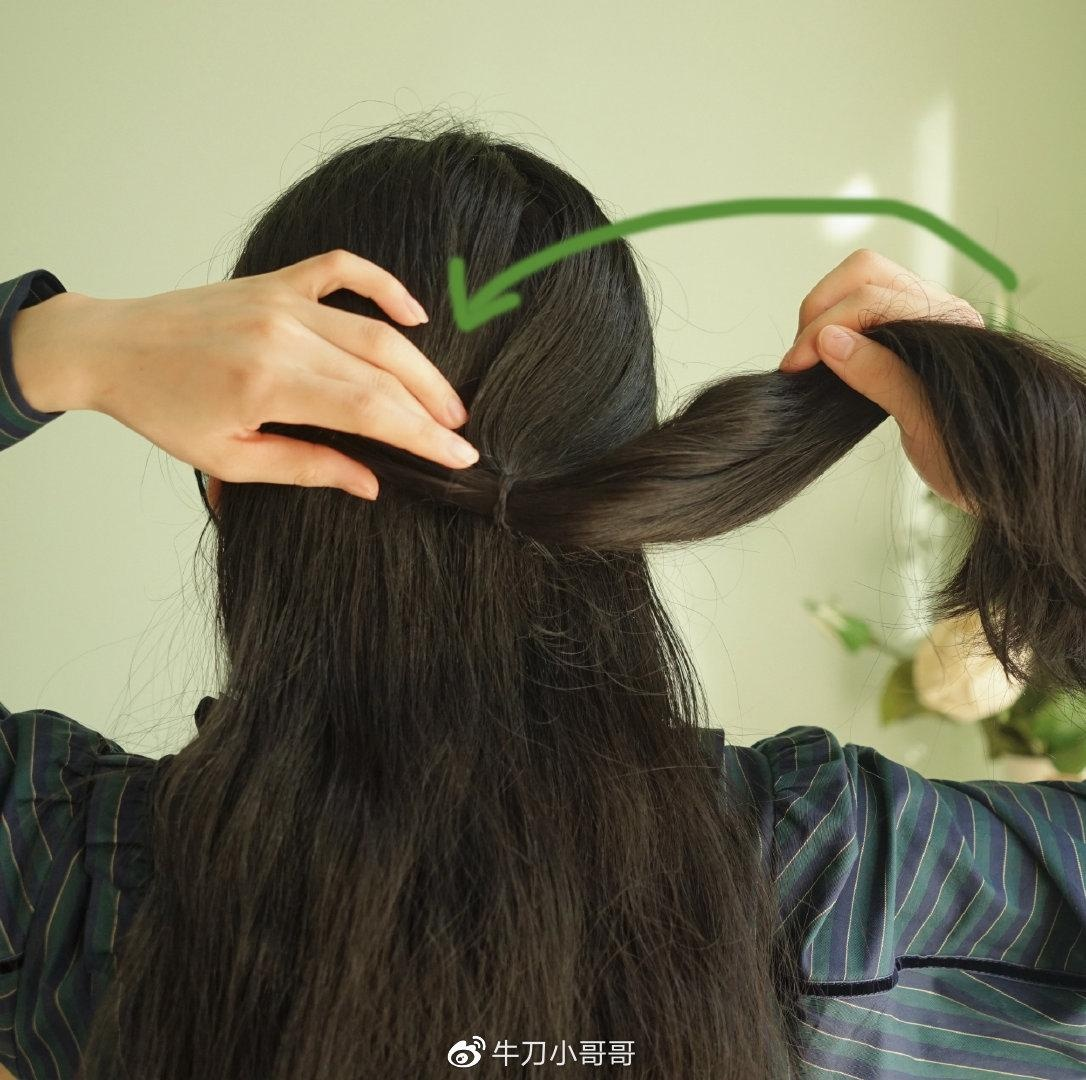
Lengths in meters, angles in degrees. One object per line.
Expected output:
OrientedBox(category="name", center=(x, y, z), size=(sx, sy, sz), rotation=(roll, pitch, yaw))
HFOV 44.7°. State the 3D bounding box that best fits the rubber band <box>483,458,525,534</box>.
OrientedBox(category="rubber band", center=(-0.033, -0.034, 1.150), size=(0.027, 0.051, 0.032), rotation=(-8, -15, -13))
